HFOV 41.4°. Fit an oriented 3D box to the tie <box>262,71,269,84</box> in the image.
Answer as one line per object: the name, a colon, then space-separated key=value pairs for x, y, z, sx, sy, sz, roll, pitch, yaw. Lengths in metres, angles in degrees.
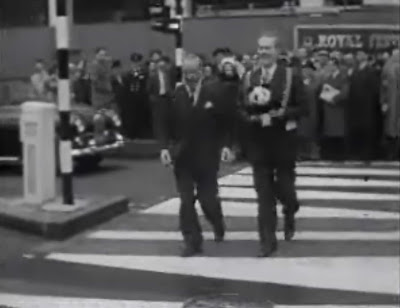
tie: x=0.703 y=-0.824 z=5.685 sx=0.084 sy=0.132 sz=0.034 roll=0 pitch=10 yaw=-1

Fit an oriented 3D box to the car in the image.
car: x=-1.475 y=-0.316 z=6.303 sx=1.525 sy=1.036 sz=0.763 roll=0 pitch=6 yaw=4

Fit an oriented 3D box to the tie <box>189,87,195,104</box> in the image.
tie: x=-0.087 y=-0.643 z=5.698 sx=0.050 sy=0.148 sz=0.139 roll=-10 pitch=28 yaw=-3

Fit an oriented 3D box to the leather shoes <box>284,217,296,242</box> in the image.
leather shoes: x=0.988 y=0.819 z=5.817 sx=0.089 sy=0.304 sz=0.129 roll=1 pitch=17 yaw=8
